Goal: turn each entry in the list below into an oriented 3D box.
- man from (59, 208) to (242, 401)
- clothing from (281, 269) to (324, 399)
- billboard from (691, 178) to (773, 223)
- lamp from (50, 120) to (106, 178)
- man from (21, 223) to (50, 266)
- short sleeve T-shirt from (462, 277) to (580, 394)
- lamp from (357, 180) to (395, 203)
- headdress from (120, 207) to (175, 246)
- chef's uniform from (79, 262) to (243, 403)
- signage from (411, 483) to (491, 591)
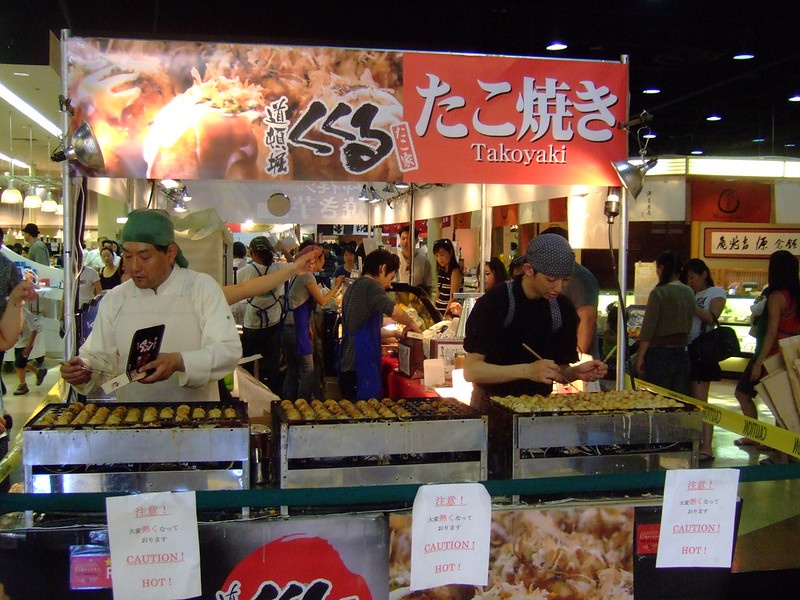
[{"bbox_3d":[-1.103,0.043,3.033,0.738,0.889,0.611,1,0,-24],"label":"man"},{"bbox_3d":[-1.038,0.376,6.979,0.393,1.300,0.335,1,-1,0],"label":"clothing"},{"bbox_3d":[5.243,-1.587,10.770,1.417,0.652,0.279,1,-1,-3],"label":"billboard"},{"bbox_3d":[-1.834,-0.880,3.877,0.267,0.189,0.172,1,0,-25],"label":"lamp"},{"bbox_3d":[-6.173,-0.968,11.482,0.350,0.797,1.739,1,0,-28],"label":"man"},{"bbox_3d":[0.601,0.194,3.315,0.692,0.683,0.341,-1,8,-21],"label":"short sleeve T-shirt"},{"bbox_3d":[-0.301,-1.648,10.234,0.268,0.270,0.654,-3,0,-32],"label":"lamp"},{"bbox_3d":[-1.113,-0.325,3.020,0.226,0.175,0.154,1,0,-40],"label":"headdress"},{"bbox_3d":[-1.081,0.113,3.251,0.748,0.929,0.613,0,7,-4],"label":"chef's uniform"},{"bbox_3d":[0.162,0.752,2.171,0.353,0.477,0.021,-1,9,-10],"label":"signage"}]
